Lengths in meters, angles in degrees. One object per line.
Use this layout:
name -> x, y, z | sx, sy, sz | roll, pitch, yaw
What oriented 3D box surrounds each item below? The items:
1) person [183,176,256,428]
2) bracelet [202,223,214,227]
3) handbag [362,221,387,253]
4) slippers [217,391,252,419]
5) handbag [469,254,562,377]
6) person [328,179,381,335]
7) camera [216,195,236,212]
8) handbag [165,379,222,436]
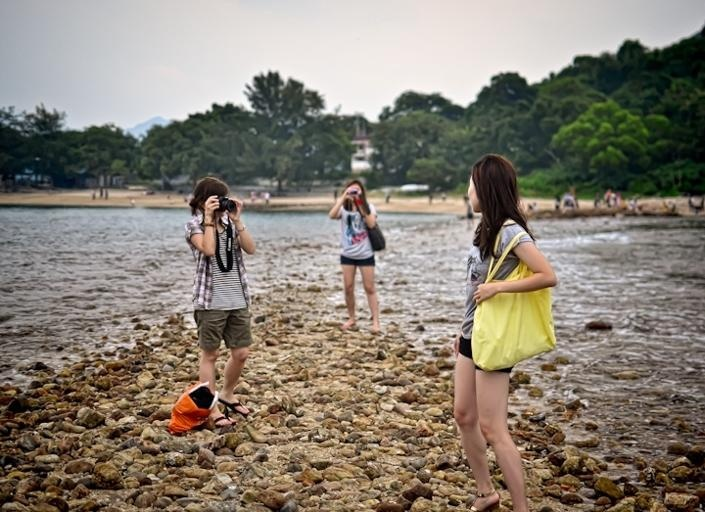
person -> -1.702, 0.570, 8.253 | 0.817, 3.052, 0.914 | 4, 14, 14
bracelet -> -1.834, -0.400, 8.047 | 0.167, 0.039, 0.095 | 1, 14, 2
handbag -> 0.412, -0.322, 11.432 | 0.323, 0.468, 0.256 | -1, 14, -5
slippers -> -1.558, 2.006, 8.463 | 0.541, 0.146, 0.208 | 16, 24, 20
handbag -> 1.676, 0.578, 6.604 | 0.885, 1.164, 0.498 | -3, 25, 4
person -> 0.073, 0.011, 11.774 | 0.901, 2.823, 1.004 | 1, 14, 1
camera -> -1.591, -0.655, 8.132 | 0.180, 0.120, 0.196 | -8, 10, -38
handbag -> -2.011, 1.897, 8.136 | 0.463, 0.676, 0.263 | 41, -3, -3
